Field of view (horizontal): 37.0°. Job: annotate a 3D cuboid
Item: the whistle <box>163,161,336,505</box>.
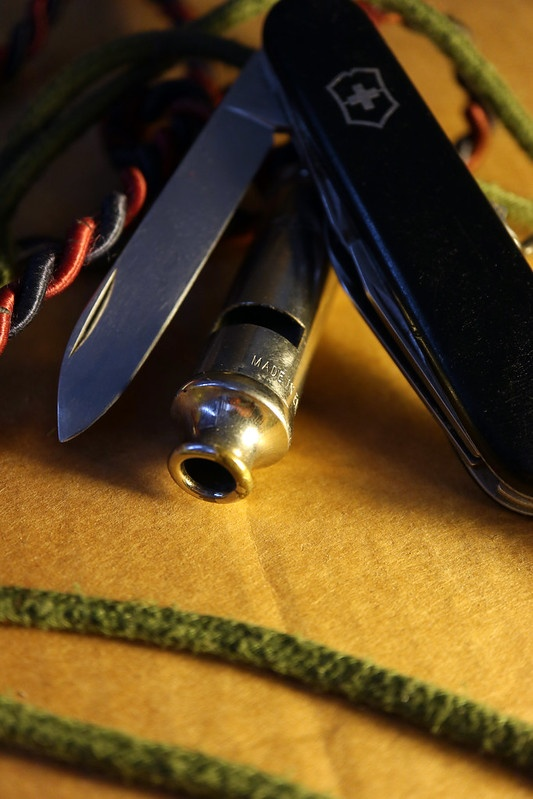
[{"bbox_3d":[-0.017,-0.059,0.774,0.126,0.122,0.412,49,36,-34],"label":"whistle"}]
